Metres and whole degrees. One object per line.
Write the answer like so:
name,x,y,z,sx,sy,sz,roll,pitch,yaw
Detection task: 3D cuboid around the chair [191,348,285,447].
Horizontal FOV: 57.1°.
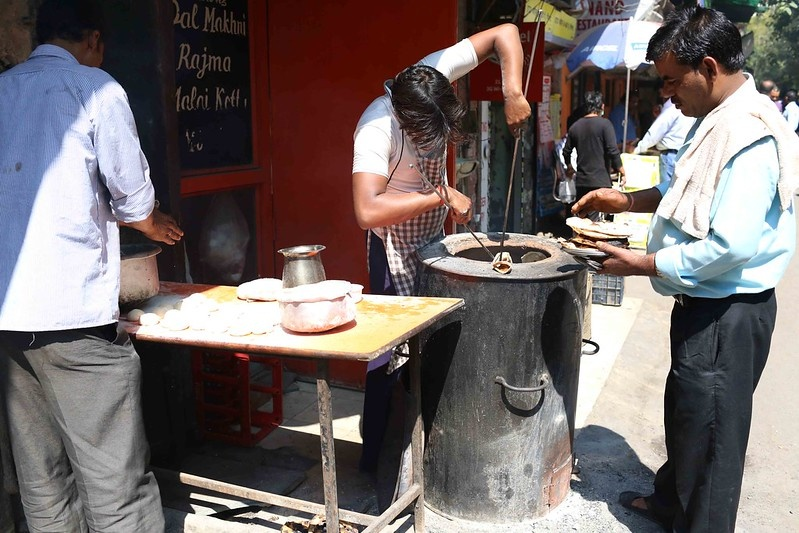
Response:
chair,-1.369,0.968,5.948,0.620,0.925,0.510,14,18,-8

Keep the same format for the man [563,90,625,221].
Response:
man,2.568,-1.240,9.944,0.781,2.095,0.503,9,22,35

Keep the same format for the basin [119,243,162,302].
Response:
basin,-1.629,0.033,4.722,0.325,0.267,0.325,0,6,0

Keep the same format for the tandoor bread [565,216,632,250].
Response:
tandoor bread,1.274,-0.223,4.662,0.259,0.104,0.269,15,15,23

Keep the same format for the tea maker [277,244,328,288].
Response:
tea maker,-0.632,-0.017,4.691,0.253,0.281,0.262,-5,15,22

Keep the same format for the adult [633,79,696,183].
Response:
adult,3.634,-1.542,10.051,0.685,1.689,0.500,-1,10,-20

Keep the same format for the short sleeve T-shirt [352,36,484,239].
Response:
short sleeve T-shirt,0.068,-0.841,4.992,0.836,1.262,0.739,-5,14,-8

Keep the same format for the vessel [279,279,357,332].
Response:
vessel,-0.456,0.230,4.357,0.311,0.178,0.324,-4,10,32

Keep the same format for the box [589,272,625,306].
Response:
box,2.318,0.263,8.498,0.566,0.303,0.595,-3,-7,33
